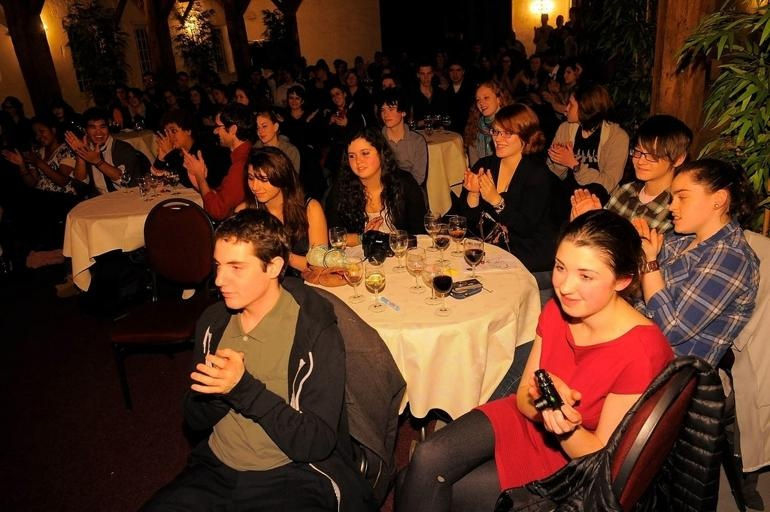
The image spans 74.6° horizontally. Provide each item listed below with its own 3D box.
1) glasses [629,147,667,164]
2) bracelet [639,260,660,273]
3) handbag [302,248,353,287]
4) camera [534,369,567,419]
[{"bbox_3d":[1.873,-0.707,3.573,0.144,0.047,0.139,-5,23,-37],"label":"glasses"},{"bbox_3d":[1.479,0.055,2.831,0.064,0.044,0.062,-11,-2,24],"label":"bracelet"},{"bbox_3d":[-0.422,0.027,3.522,0.376,0.144,0.354,18,3,-22],"label":"handbag"},{"bbox_3d":[0.768,0.626,2.359,0.131,0.182,0.137,2,22,12],"label":"camera"}]
